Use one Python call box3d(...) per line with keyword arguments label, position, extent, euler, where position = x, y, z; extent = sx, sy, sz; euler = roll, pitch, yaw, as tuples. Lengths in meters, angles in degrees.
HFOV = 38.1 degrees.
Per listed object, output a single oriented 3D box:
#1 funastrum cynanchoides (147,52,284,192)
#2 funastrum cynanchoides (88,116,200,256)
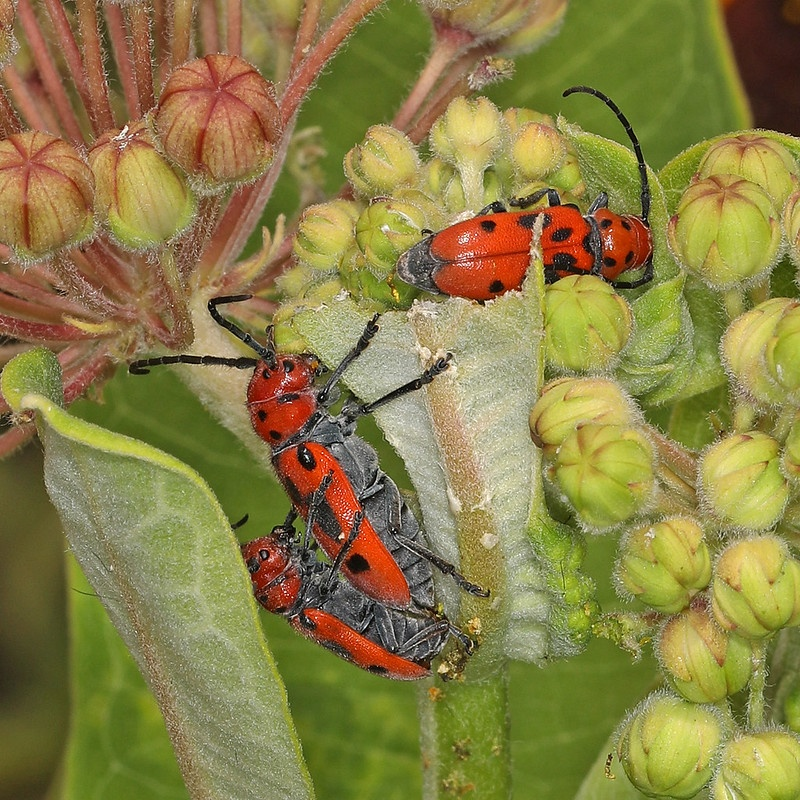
box3d(label="funastrum cynanchoides", position=(-0.490, -0.752, 3.343), extent=(0.349, 0.363, 0.379), euler=(5, -2, -6))
box3d(label="funastrum cynanchoides", position=(-0.751, -0.617, 3.387), extent=(0.297, 0.365, 0.228), euler=(-26, 18, -10))
